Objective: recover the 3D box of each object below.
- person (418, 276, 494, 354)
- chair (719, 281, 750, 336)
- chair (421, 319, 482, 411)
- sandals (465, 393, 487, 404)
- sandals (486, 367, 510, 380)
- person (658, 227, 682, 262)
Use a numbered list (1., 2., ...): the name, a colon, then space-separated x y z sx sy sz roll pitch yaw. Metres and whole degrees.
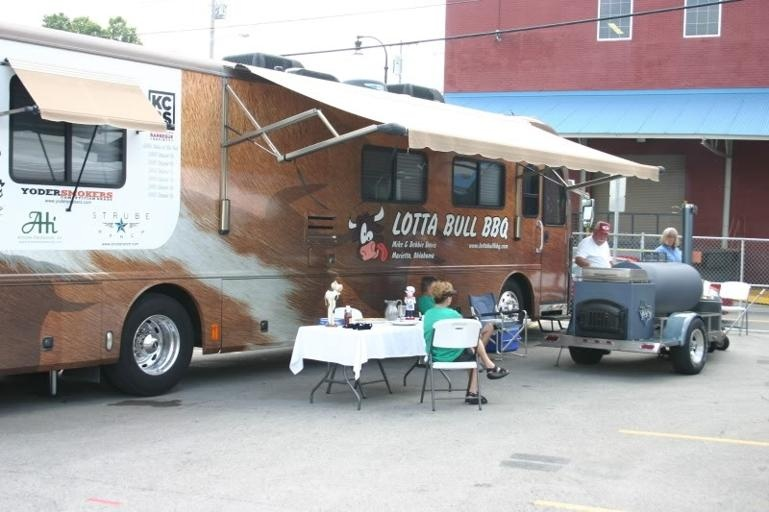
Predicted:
1. person: 0.888 0.778 10.051 1.114 1.294 0.919 -3 -4 37
2. chair: 7.728 1.137 15.022 0.636 0.908 0.703 15 4 40
3. chair: 0.885 1.374 8.942 0.784 1.187 1.030 1 3 -1
4. sandals: 1.224 1.883 8.851 0.293 0.117 0.149 -1 -1 -9
5. sandals: 1.520 1.595 9.175 0.390 0.148 0.143 -4 3 -5
6. person: 5.761 -0.244 13.482 0.498 0.659 1.629 2 3 23
